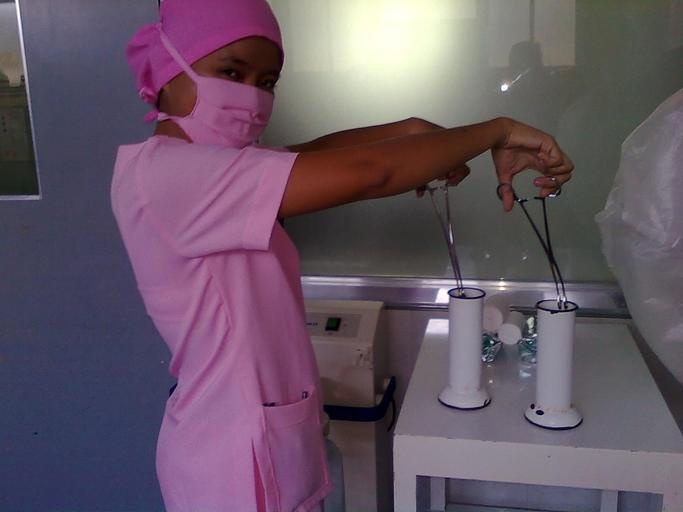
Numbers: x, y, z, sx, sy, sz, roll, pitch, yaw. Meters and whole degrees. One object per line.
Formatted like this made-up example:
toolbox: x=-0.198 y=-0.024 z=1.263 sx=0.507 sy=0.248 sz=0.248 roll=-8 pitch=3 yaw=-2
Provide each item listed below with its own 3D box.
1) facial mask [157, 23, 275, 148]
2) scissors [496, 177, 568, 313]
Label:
facial mask: x=-0.255 y=-0.337 z=1.410 sx=0.267 sy=0.155 sz=0.226 roll=33 pitch=11 yaw=6
scissors: x=0.557 y=-0.020 z=1.698 sx=0.181 sy=0.544 sz=0.229 roll=4 pitch=15 yaw=10
